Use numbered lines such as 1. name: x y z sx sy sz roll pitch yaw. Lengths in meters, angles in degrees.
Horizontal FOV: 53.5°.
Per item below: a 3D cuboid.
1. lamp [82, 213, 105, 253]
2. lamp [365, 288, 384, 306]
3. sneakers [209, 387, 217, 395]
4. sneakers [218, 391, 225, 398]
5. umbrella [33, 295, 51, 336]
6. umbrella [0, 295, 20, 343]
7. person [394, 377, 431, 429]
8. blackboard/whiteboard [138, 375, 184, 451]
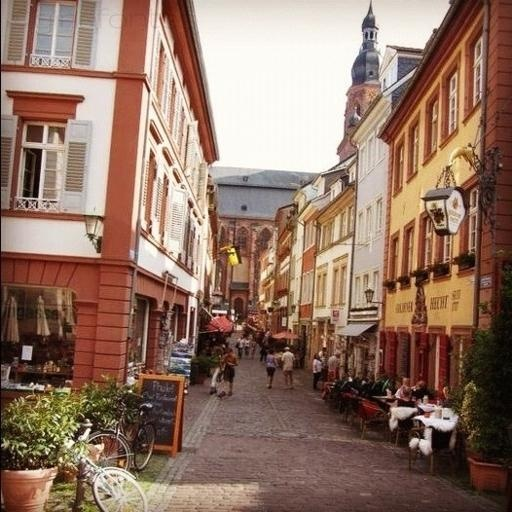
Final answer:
1. lamp: -3.469 -0.576 10.940 0.512 0.908 0.399 14 -10 -40
2. lamp: 4.788 1.723 21.335 0.411 0.677 1.425 -7 -17 32
3. sneakers: -1.673 5.292 19.799 0.209 0.258 0.403 3 6 5
4. sneakers: -1.280 5.183 18.898 0.130 0.275 0.284 -7 -49 26
5. umbrella: -4.802 1.335 11.459 0.325 0.917 0.190 1 -9 6
6. umbrella: -5.576 1.401 11.449 0.451 1.051 0.375 -2 -10 23
7. person: 3.663 3.479 12.056 0.684 0.694 1.031 0 7 18
8. blackboard/whiteboard: -1.761 2.926 9.147 0.914 1.573 0.905 3 -20 -2
